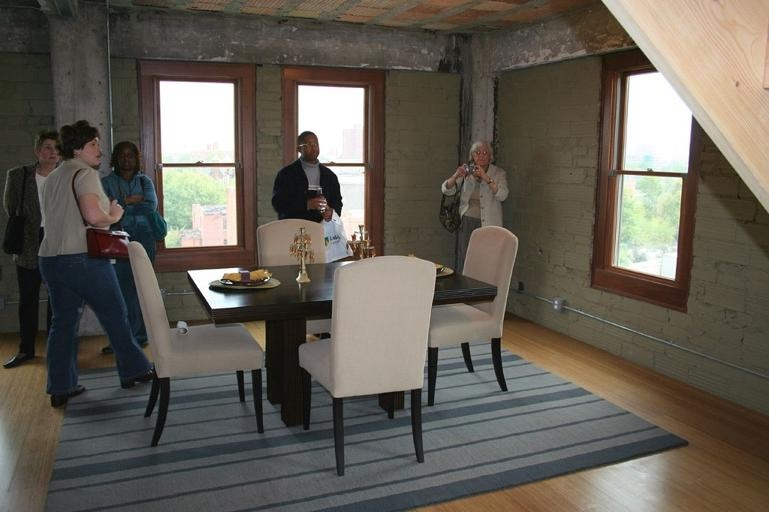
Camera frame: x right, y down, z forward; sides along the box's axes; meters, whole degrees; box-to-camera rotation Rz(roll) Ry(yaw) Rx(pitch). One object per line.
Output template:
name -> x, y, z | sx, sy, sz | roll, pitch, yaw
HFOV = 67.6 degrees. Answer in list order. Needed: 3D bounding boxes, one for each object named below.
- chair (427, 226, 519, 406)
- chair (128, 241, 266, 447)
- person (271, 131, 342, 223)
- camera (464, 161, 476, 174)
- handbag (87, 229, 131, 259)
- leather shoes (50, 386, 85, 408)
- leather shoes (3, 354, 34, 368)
chair -> 0.588, 0.409, 4.682 | 0.842, 1.290, 0.754 | -3, 10, -14
chair -> -1.310, 0.571, 4.022 | 0.852, 1.195, 0.719 | -2, 9, -29
person -> -0.763, -0.748, 5.512 | 0.673, 0.850, 0.569 | 0, 15, -4
camera -> 0.938, -0.959, 6.248 | 0.131, 0.124, 0.047 | 6, -1, 14
handbag -> -1.994, -0.080, 4.109 | 0.084, 0.141, 0.216 | 6, 2, 42
leather shoes -> -2.419, 1.061, 4.399 | 0.086, 0.108, 0.248 | 11, 20, 24
leather shoes -> -3.216, 0.901, 5.026 | 0.081, 0.083, 0.238 | 8, 9, 29
